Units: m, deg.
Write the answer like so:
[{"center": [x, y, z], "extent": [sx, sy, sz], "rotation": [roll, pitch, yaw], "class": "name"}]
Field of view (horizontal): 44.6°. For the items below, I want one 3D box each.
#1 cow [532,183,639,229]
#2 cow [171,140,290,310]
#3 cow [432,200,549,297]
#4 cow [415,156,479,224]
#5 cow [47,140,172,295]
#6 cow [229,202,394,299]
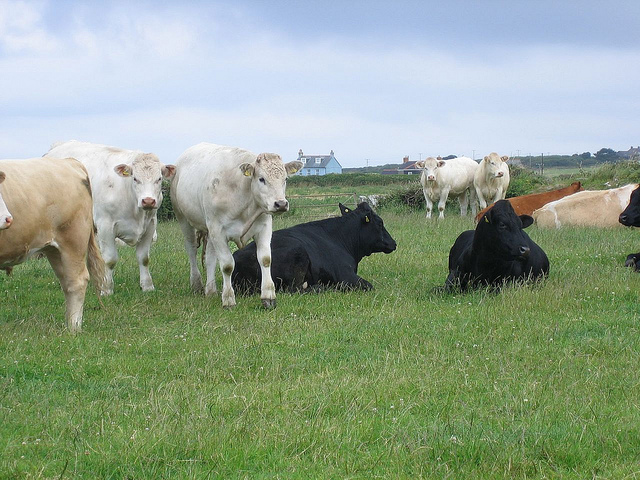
[{"center": [6.826, -0.815, 20.008], "extent": [2.082, 1.279, 0.786], "rotation": [-11, 24, 9], "class": "cow"}, {"center": [-1.506, -0.235, 12.817], "extent": [1.110, 2.737, 3.429], "rotation": [-5, 7, -36], "class": "cow"}, {"center": [2.772, 0.077, 12.620], "extent": [1.679, 1.495, 1.940], "rotation": [2, 11, 17], "class": "cow"}, {"center": [4.531, -1.772, 27.435], "extent": [1.055, 2.263, 3.678], "rotation": [7, 5, 38], "class": "cow"}, {"center": [-3.868, -0.412, 14.369], "extent": [1.032, 2.684, 4.452], "rotation": [-6, 10, -36], "class": "cow"}, {"center": [-0.113, 0.244, 14.179], "extent": [3.612, 1.910, 1.187], "rotation": [-8, 9, -38], "class": "cow"}]
